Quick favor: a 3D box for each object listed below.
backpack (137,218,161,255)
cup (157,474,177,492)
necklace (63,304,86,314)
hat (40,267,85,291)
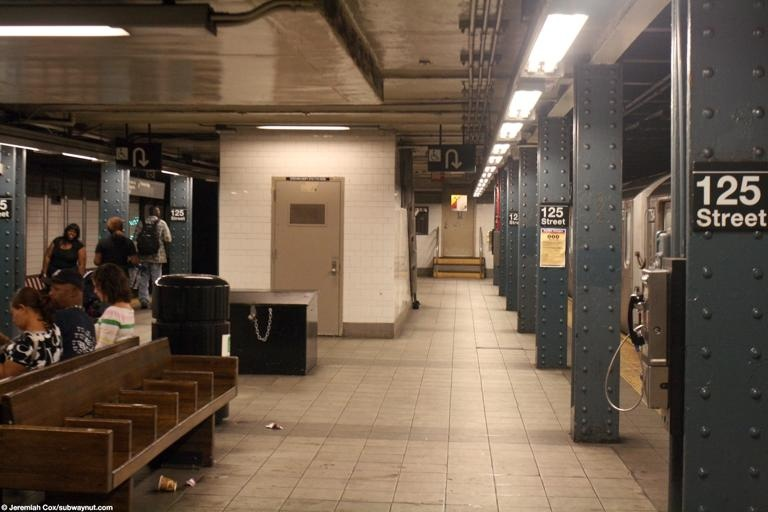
[{"bbox_3d":[-5.620,-0.445,15.601,0.533,0.870,0.281,0,3,-15],"label":"backpack"},{"bbox_3d":[-1.930,1.985,5.834,0.139,0.135,0.142,6,15,-2],"label":"cup"},{"bbox_3d":[-2.974,0.495,6.276,0.145,0.080,0.188,6,-8,-35],"label":"necklace"},{"bbox_3d":[-3.736,0.244,7.615,0.613,0.318,0.417,1,-1,2],"label":"hat"}]
